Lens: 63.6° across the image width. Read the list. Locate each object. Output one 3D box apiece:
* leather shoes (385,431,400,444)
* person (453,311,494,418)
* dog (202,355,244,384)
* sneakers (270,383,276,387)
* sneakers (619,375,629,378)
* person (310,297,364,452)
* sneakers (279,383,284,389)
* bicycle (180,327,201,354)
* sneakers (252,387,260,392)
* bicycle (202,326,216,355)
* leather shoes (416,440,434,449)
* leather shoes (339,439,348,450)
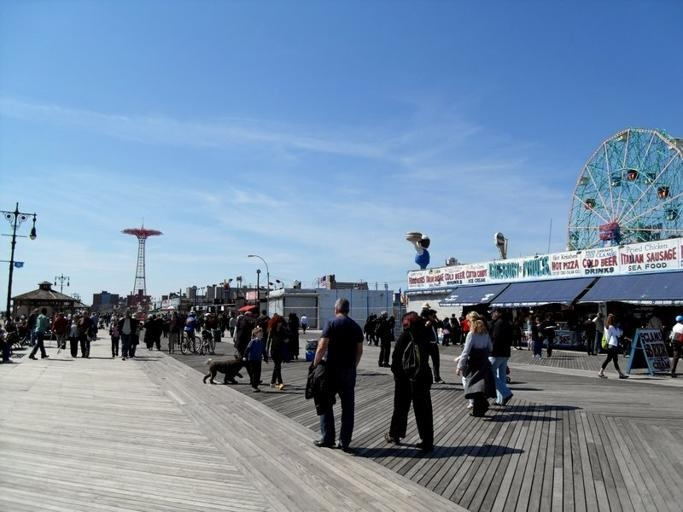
[{"bbox_3d":[0.837,2.943,8.882,0.101,0.138,0.308,2,1,-14],"label":"leather shoes"},{"bbox_3d":[2.666,2.122,10.819,0.742,2.050,0.528,-1,-6,3],"label":"person"},{"bbox_3d":[-3.409,3.277,15.754,0.954,0.694,2.047,3,-8,-32],"label":"dog"},{"bbox_3d":[-1.805,3.488,14.800,0.107,0.081,0.111,1,-1,4],"label":"sneakers"},{"bbox_3d":[8.824,3.756,17.155,0.291,0.120,0.109,-1,-4,-13],"label":"sneakers"},{"bbox_3d":[-0.028,1.826,8.578,0.763,2.339,0.552,-1,-6,-1],"label":"person"},{"bbox_3d":[-1.584,3.493,14.746,0.090,0.104,0.220,2,1,-5],"label":"sneakers"},{"bbox_3d":[-7.555,4.422,28.053,0.821,1.134,1.640,2,-7,-29],"label":"bicycle"},{"bbox_3d":[-2.161,3.458,14.276,0.098,0.170,0.166,5,-15,-39],"label":"sneakers"},{"bbox_3d":[-6.343,4.254,27.162,0.681,0.922,1.409,4,-13,-22],"label":"bicycle"},{"bbox_3d":[1.329,2.940,8.581,0.248,0.176,0.240,-3,-7,10],"label":"leather shoes"},{"bbox_3d":[0.057,2.895,8.505,0.159,0.168,0.305,-1,-7,-4],"label":"leather shoes"}]
